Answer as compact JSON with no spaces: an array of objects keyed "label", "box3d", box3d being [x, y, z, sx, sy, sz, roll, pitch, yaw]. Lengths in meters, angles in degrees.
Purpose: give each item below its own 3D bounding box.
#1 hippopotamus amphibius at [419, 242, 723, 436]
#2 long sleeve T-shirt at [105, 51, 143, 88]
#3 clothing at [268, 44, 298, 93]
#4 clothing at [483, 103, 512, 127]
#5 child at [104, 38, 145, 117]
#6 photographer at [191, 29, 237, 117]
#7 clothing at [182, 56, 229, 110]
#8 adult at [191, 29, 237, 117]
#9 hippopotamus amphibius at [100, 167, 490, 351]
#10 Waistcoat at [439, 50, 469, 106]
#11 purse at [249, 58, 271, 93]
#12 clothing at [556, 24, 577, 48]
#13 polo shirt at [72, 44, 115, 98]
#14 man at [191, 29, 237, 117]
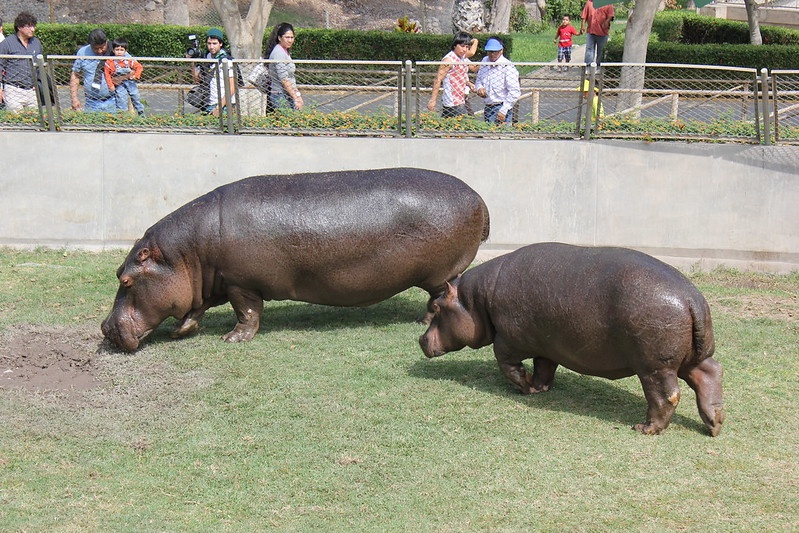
[{"label":"hippopotamus amphibius","box3d":[1.760,0.681,10.659,3.390,1.597,1.139,6,15,34]},{"label":"long sleeve T-shirt","box3d":[-4.146,-2.931,15.209,0.595,0.477,0.297,-13,-20,-1]},{"label":"clothing","box3d":[-1.749,-2.915,14.944,0.386,0.696,0.649,-4,22,0]},{"label":"clothing","box3d":[1.494,-2.297,15.165,0.563,0.295,0.394,-3,12,11]},{"label":"child","box3d":[-4.132,-2.801,15.207,0.529,1.201,0.396,-9,27,-15]},{"label":"photographer","box3d":[-2.732,-2.872,14.918,0.736,1.211,1.792,-3,14,-11]},{"label":"clothing","box3d":[-2.949,-2.682,14.965,0.482,0.711,0.278,3,22,10]},{"label":"adult","box3d":[-2.730,-2.870,14.910,0.738,1.211,1.776,-3,14,-11]},{"label":"hippopotamus amphibius","box3d":[-1.307,-0.334,12.377,5.547,2.249,1.718,-4,27,-6]},{"label":"Waistcoat","box3d":[0.806,-2.752,14.861,0.455,0.813,0.715,2,14,16]},{"label":"purse","box3d":[-2.057,-2.817,15.015,0.400,0.391,0.115,1,17,8]},{"label":"clothing","box3d":[4.814,-6.653,29.143,0.418,0.595,0.561,1,14,7]},{"label":"polo shirt","box3d":[-4.635,-2.991,15.309,0.472,0.301,0.981,-8,23,5]},{"label":"man","box3d":[-2.729,-2.869,14.906,0.738,1.211,1.767,-3,14,-11]}]
